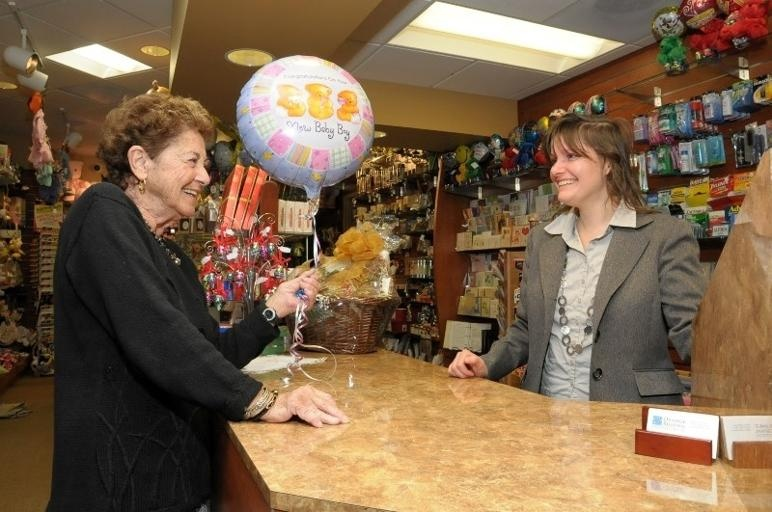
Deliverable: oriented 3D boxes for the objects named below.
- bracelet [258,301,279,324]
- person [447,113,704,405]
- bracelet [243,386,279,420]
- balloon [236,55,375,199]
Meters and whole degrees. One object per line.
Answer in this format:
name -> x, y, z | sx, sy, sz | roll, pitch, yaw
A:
bracelet -> -0.448, 0.219, 2.024 | 0.049, 0.078, 0.077 | 13, -5, 4
person -> 0.876, -0.008, 2.163 | 0.781, 1.224, 0.616 | 3, 6, 31
bracelet -> -0.382, 0.452, 1.624 | 0.092, 0.037, 0.101 | -43, 0, 9
balloon -> -0.335, -0.514, 2.177 | 0.452, 0.529, 0.250 | 6, 8, -11
